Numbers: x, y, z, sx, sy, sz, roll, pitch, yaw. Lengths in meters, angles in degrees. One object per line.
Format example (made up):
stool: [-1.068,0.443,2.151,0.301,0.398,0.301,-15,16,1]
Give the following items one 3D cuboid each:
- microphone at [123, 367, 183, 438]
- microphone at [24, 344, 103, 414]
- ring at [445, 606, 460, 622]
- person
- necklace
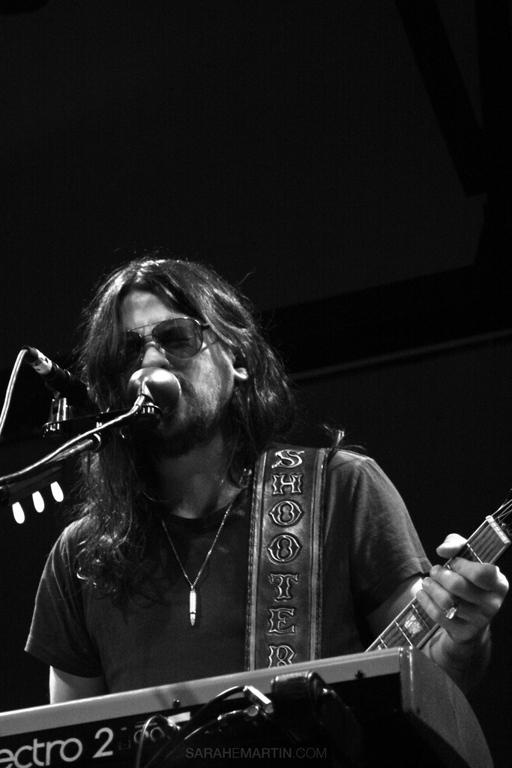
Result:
microphone: [-0.173,0.024,1.551,0.097,0.113,0.082,0,58,7]
microphone: [-0.352,-0.004,1.595,0.053,0.193,0.053,3,64,34]
ring: [0.266,0.316,1.218,0.017,0.020,0.023,8,71,9]
person: [0.060,0.202,1.912,0.965,0.532,1.063,-16,58,21]
necklace: [-0.112,0.319,1.792,0.115,0.013,0.318,-5,38,14]
